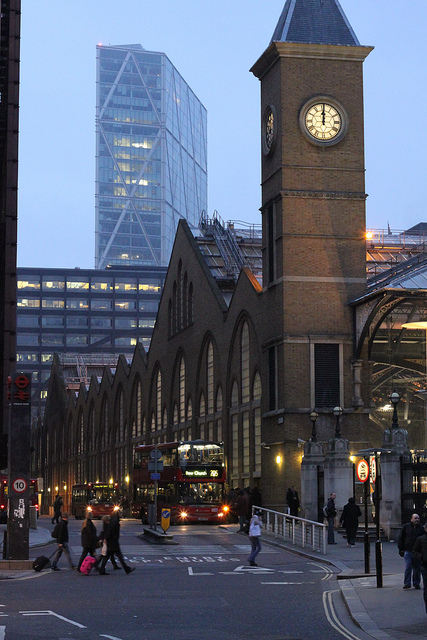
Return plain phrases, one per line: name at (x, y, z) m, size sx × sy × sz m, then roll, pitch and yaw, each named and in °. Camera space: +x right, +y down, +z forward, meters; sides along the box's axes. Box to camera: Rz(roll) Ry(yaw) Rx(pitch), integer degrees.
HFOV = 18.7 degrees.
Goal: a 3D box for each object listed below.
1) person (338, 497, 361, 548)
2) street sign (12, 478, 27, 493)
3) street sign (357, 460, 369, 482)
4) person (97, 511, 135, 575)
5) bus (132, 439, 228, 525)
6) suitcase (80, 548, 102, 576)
person at (3.880, 5.748, 37.066) m, size 0.568 × 1.438 × 1.934 m, roll -1°, pitch -12°, yaw 5°
street sign at (-5.004, 4.275, 33.595) m, size 0.275 × 0.387 × 0.048 m, roll -1°, pitch -2°, yaw 1°
street sign at (3.714, 3.696, 32.244) m, size 0.281 × 0.555 × 0.724 m, roll -1°, pitch -12°, yaw 6°
person at (-2.402, 5.380, 31.540) m, size 0.760 × 1.600 × 2.291 m, roll 1°, pitch -12°, yaw -5°
bus at (-1.286, 7.010, 56.630) m, size 2.145 × 4.009 × 6.693 m, roll 2°, pitch -6°, yaw -17°
suitcase at (-2.897, 5.820, 30.821) m, size 0.424 × 0.450 × 0.237 m, roll 37°, pitch -18°, yaw -33°
